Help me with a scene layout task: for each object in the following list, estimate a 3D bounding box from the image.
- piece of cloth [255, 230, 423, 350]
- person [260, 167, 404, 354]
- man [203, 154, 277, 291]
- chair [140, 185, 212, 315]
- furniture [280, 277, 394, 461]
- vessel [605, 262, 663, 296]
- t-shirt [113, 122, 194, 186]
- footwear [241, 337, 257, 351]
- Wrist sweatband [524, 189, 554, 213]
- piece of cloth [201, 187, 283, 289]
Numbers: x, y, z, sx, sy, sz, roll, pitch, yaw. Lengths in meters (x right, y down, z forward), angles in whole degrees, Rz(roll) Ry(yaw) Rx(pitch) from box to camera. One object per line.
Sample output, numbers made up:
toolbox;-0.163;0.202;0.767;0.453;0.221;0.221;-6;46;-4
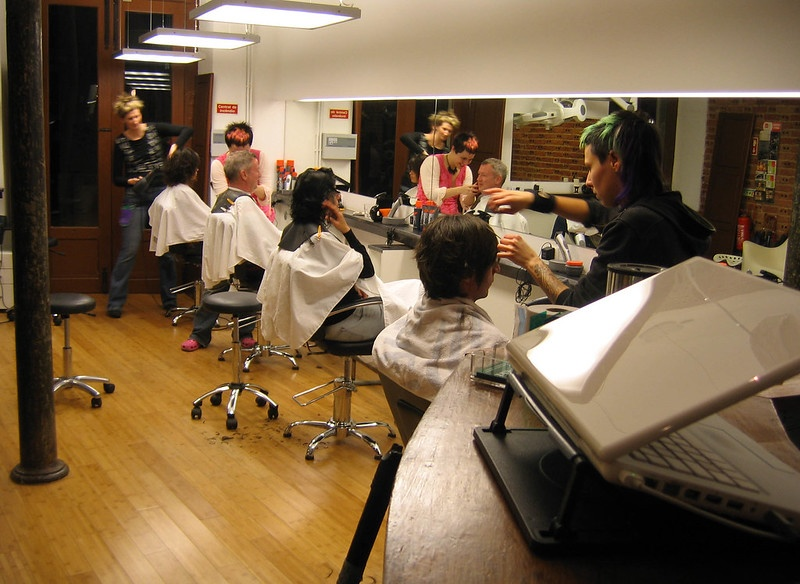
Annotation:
piece of cloth;-0.350;-0.030;3.411;0.793;0.518;0.609;-8;19;-27
person;-0.377;-0.208;3.504;0.768;1.025;0.892;17;22;30
man;-1.137;-0.347;4.546;0.428;1.390;0.403;6;12;40
chair;-1.913;-0.555;5.201;0.685;0.828;0.612;-12;22;-40
furniture;-0.400;0.376;3.759;0.801;1.231;0.820;0;9;-21
vessel;0.500;-0.029;1.288;0.084;0.095;0.085;-3;8;-16
t-shirt;-2.411;-1.323;5.765;0.235;0.825;0.605;24;28;39
footwear;-1.240;0.420;4.888;0.095;0.030;0.105;5;20;-5
Wrist sweatband;0.473;-0.303;1.984;0.066;0.036;0.091;14;8;4
piece of cloth;-1.153;-0.402;4.570;0.688;0.703;0.538;2;3;-19
